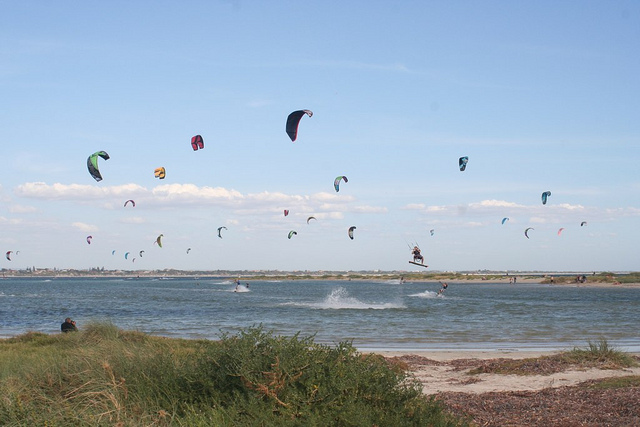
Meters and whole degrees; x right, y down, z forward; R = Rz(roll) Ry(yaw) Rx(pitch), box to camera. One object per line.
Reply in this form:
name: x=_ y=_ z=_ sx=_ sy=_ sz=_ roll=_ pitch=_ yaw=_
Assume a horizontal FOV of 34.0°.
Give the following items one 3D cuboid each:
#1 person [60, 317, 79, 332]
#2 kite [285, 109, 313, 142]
person: x=-15.667 y=6.949 z=65.285 sx=0.914 sy=0.914 sz=1.860 roll=3 pitch=-3 yaw=-28
kite: x=-1.584 y=-5.614 z=66.290 sx=0.991 sy=1.944 sz=1.649 roll=1 pitch=-3 yaw=-5
